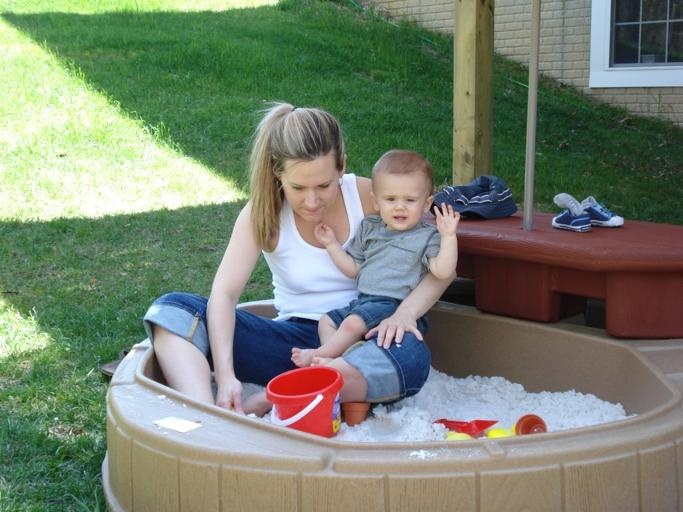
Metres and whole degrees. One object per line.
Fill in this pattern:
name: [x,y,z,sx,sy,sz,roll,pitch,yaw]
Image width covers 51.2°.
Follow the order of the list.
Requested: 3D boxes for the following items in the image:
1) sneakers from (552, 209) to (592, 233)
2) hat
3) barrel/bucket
sneakers: [1.002,-0.153,3.085,0.079,0.084,0.169,-9,13,-35]
hat: [0.633,-0.269,3.357,0.274,0.114,0.288,-2,19,12]
barrel/bucket: [-0.117,0.529,2.620,0.249,0.184,0.260,-17,9,3]
